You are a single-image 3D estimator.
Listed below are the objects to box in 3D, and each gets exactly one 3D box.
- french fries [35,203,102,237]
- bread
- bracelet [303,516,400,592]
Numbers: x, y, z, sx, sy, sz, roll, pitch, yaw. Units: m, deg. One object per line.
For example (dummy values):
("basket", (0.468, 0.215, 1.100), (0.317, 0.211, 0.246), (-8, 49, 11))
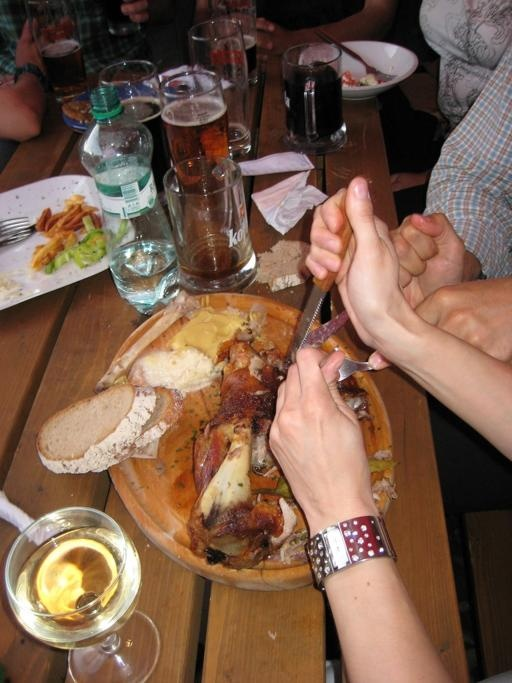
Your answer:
("french fries", (-0.460, -0.299, 1.349), (0.119, 0.041, 0.100), (-9, 45, -4))
("bread", (-0.232, 0.145, 0.934), (0.220, 0.057, 0.138), (-25, 37, -14))
("bracelet", (0.133, 0.261, 0.717), (0.114, 0.111, 0.064), (20, 49, -36))
